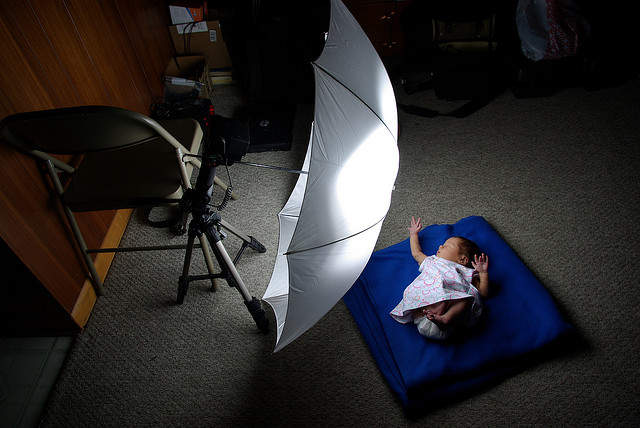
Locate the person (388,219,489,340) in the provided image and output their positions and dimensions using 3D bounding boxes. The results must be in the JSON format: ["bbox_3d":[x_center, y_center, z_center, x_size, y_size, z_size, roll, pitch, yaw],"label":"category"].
[{"bbox_3d":[0.708,0.380,2.661,0.476,0.369,0.760,7,50,16],"label":"person"}]

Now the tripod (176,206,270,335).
[{"bbox_3d":[-0.537,0.276,2.709,0.439,0.783,0.481,1,34,-11],"label":"tripod"}]

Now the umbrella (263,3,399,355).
[{"bbox_3d":[0.088,-0.150,1.945,0.456,1.208,0.877,3,34,10],"label":"umbrella"}]

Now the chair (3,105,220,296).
[{"bbox_3d":[-1.101,-0.081,2.588,0.837,1.204,0.445,-2,33,2],"label":"chair"}]

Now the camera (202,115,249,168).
[{"bbox_3d":[-0.420,-0.391,2.334,0.279,0.226,0.268,3,41,-1],"label":"camera"}]
